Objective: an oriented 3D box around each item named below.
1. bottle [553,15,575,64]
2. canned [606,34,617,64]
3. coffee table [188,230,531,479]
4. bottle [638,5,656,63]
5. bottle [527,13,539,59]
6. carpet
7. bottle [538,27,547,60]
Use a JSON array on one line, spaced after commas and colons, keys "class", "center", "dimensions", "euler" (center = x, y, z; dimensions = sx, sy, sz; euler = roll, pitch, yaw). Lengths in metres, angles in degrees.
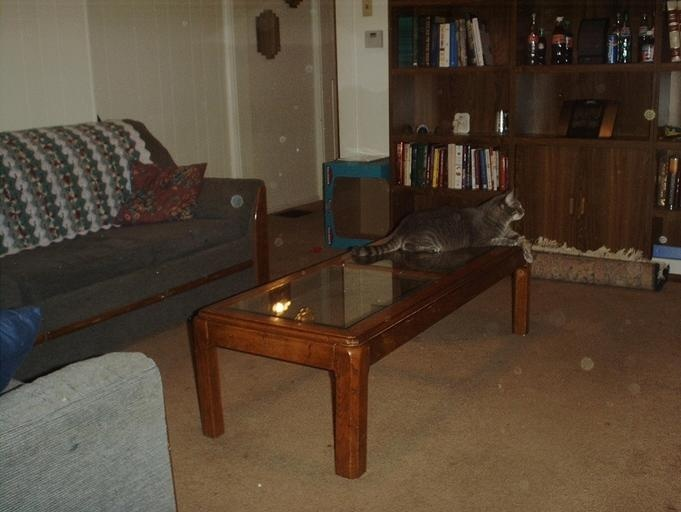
[{"class": "bottle", "center": [1.465, -1.418, 3.738], "dimensions": [0.134, 0.306, 0.250], "euler": [5, 18, 20]}, {"class": "canned", "center": [1.692, -1.286, 3.531], "dimensions": [0.070, 0.166, 0.062], "euler": [5, 18, 20]}, {"class": "coffee table", "center": [0.163, 0.324, 2.342], "dimensions": [0.649, 0.525, 1.358], "euler": [14, 22, 40]}, {"class": "bottle", "center": [1.872, -1.336, 3.472], "dimensions": [0.097, 0.306, 0.336], "euler": [7, 19, 25]}, {"class": "bottle", "center": [1.291, -1.455, 3.799], "dimensions": [0.068, 0.334, 0.196], "euler": [4, 18, 17]}, {"class": "carpet", "center": [1.649, 0.047, 3.683], "dimensions": [0.832, 0.229, 0.278], "euler": [8, 19, 28]}, {"class": "bottle", "center": [1.357, -1.414, 3.814], "dimensions": [0.062, 0.237, 0.206], "euler": [5, 18, 18]}]
